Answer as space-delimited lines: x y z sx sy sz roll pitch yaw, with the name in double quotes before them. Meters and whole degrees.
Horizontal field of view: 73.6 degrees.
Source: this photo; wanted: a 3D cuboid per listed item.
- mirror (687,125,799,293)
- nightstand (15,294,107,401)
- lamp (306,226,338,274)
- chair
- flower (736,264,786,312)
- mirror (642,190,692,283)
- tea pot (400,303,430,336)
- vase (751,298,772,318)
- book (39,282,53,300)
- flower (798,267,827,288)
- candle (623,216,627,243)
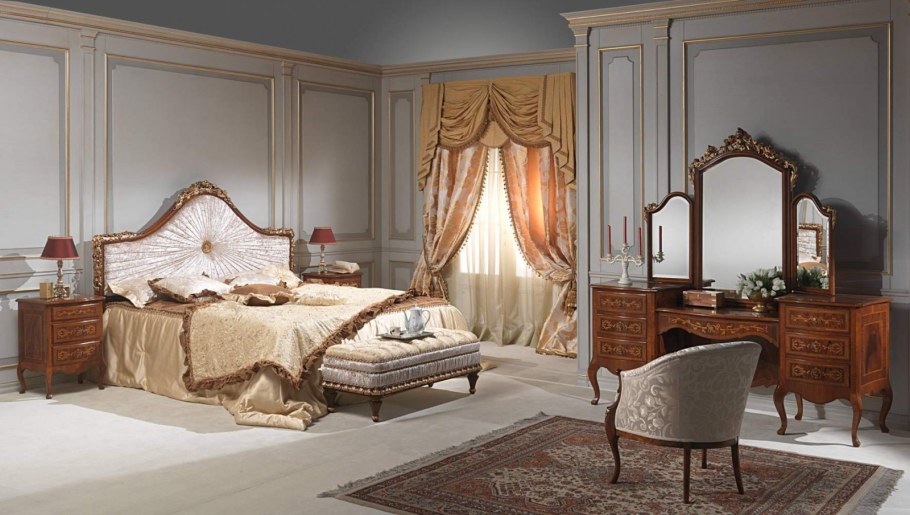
"mirror" 3.089 -0.479 6.494 1.093 1.690 0.441 5 14 21
"nightstand" -4.604 1.023 7.022 0.964 1.118 0.517 -2 13 -10
"lamp" -2.004 -0.092 9.225 0.695 0.628 0.635 -3 -1 -14
"chair" 2.008 1.254 5.335 1.285 1.320 1.365 1 -1 -38
"flower" 3.181 0.326 6.256 0.522 0.336 0.472 -1 0 -29
"mirror" 2.406 -0.217 6.823 0.534 0.990 0.235 3 14 16
"tea pot" -0.448 0.696 6.866 0.462 0.395 0.288 1 -7 -2
"vase" 3.144 0.523 6.219 0.208 0.131 0.189 -2 1 -1
"book" -4.702 0.379 7.003 0.122 0.172 0.198 -10 15 -37
"flower" 3.636 0.212 6.185 0.214 0.109 0.207 7 0 44
"candle" 1.989 -0.314 7.075 0.064 0.309 0.160 3 13 15
